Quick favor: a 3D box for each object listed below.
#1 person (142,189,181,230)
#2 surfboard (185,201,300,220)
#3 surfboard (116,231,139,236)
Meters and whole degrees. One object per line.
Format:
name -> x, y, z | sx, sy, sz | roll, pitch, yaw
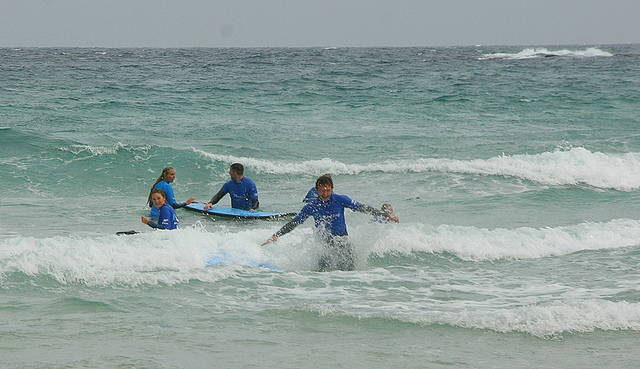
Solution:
person -> -5.859, 0.900, 33.078 | 1.246, 1.552, 0.675 | 1, -13, -5
surfboard -> -3.367, 1.042, 36.713 | 3.239, 0.260, 0.537 | 4, 12, 5
surfboard -> -7.084, 1.742, 32.598 | 0.712, 0.183, 0.197 | 0, 3, -7
